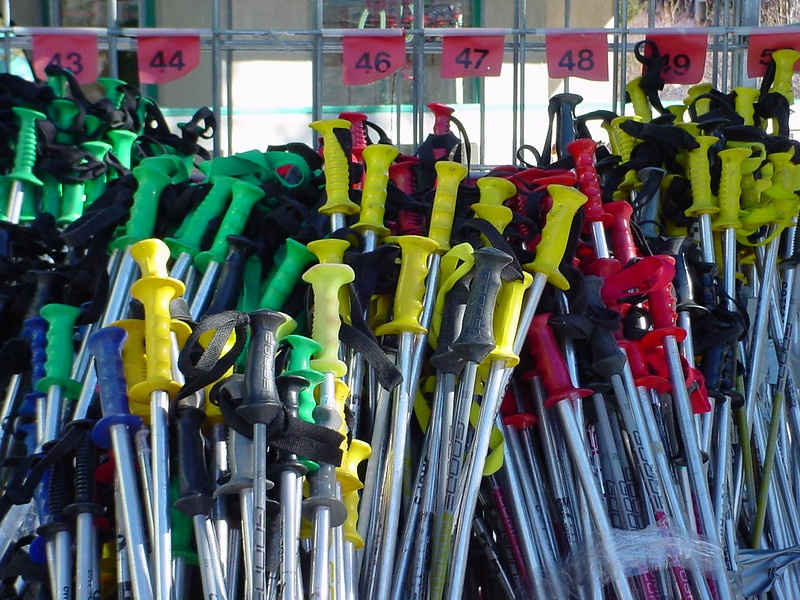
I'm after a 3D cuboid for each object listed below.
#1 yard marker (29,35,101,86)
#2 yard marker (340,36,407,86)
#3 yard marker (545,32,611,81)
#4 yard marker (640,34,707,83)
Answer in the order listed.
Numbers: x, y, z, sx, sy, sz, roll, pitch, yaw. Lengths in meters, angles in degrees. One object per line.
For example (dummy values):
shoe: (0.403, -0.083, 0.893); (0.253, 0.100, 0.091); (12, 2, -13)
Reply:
yard marker: (-1.412, -1.012, 8.314); (0.303, 0.242, 0.008); (3, 8, 15)
yard marker: (-0.113, -1.010, 8.259); (0.331, 0.253, 0.036); (4, 8, 35)
yard marker: (0.746, -1.018, 8.279); (0.285, 0.207, 0.027); (-2, 3, -17)
yard marker: (1.155, -0.991, 8.193); (0.271, 0.223, 0.028); (4, 4, 29)
